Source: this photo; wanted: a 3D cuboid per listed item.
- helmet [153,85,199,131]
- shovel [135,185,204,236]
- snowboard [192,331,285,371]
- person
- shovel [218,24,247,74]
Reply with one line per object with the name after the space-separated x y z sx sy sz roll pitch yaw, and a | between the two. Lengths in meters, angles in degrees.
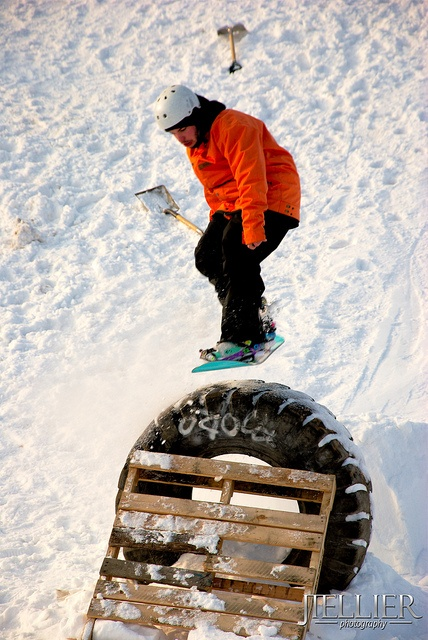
-0.279 -1.558 5.670 0.358 0.271 0.266 -31 8 -42 | helmet
-0.491 -1.434 10.272 0.408 1.095 0.144 5 68 46 | shovel
0.216 0.270 5.958 0.982 0.241 0.125 -16 48 -39 | snowboard
0.210 -0.710 5.795 0.972 2.117 0.860 -9 24 -1 | person
0.322 -4.496 12.509 0.651 0.271 0.958 0 57 3 | shovel
